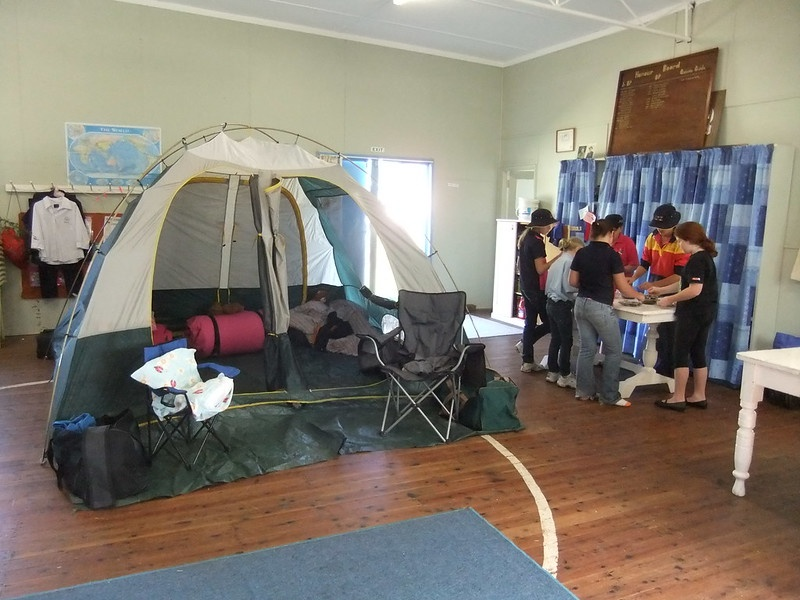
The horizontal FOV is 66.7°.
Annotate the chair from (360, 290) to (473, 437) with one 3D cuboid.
[{"bbox_3d":[0.120,0.480,4.788,0.854,1.044,0.823,2,7,-2],"label":"chair"}]

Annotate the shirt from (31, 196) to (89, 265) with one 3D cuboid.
[{"bbox_3d":[-3.817,-0.765,6.753,0.756,0.917,0.128,-6,14,-30],"label":"shirt"}]

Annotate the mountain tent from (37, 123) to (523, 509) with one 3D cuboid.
[{"bbox_3d":[-1.296,-0.246,5.319,3.259,2.313,3.118,-5,14,-23],"label":"mountain tent"}]

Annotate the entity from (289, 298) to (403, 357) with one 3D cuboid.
[{"bbox_3d":[-0.709,0.251,6.457,0.858,0.299,0.615,12,18,26],"label":"entity"}]

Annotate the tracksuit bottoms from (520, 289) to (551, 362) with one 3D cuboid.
[{"bbox_3d":[1.420,0.288,6.252,0.313,0.746,0.274,5,-6,6],"label":"tracksuit bottoms"}]

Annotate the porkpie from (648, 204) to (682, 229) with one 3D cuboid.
[{"bbox_3d":[2.489,-0.806,5.689,0.209,0.126,0.266,-19,22,22],"label":"porkpie"}]

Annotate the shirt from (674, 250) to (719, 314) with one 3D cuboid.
[{"bbox_3d":[2.506,-0.122,5.070,0.304,0.573,0.195,6,14,24],"label":"shirt"}]

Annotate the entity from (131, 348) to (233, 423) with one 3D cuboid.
[{"bbox_3d":[-1.454,0.581,4.128,0.560,0.336,0.559,15,29,28],"label":"entity"}]

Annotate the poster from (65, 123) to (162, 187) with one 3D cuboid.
[{"bbox_3d":[-3.326,-1.644,6.927,1.275,0.869,0.019,-3,12,-17],"label":"poster"}]

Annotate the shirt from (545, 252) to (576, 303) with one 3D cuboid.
[{"bbox_3d":[1.515,-0.193,5.680,0.291,0.420,0.445,-1,9,-14],"label":"shirt"}]

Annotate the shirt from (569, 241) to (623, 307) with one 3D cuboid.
[{"bbox_3d":[1.707,-0.199,5.272,0.515,0.568,0.230,11,21,40],"label":"shirt"}]

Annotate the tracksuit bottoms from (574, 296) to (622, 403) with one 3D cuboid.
[{"bbox_3d":[1.795,0.430,5.435,0.314,0.952,0.436,-13,11,-34],"label":"tracksuit bottoms"}]

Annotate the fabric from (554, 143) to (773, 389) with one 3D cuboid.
[{"bbox_3d":[2.576,-0.261,5.735,0.179,2.230,2.290,-9,17,-38],"label":"fabric"}]

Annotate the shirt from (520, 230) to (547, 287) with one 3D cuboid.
[{"bbox_3d":[1.322,-0.403,5.999,0.193,0.517,0.445,-7,18,-12],"label":"shirt"}]

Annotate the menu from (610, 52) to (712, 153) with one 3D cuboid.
[{"bbox_3d":[2.864,-2.114,6.548,0.069,1.245,1.360,13,-3,-34],"label":"menu"}]
